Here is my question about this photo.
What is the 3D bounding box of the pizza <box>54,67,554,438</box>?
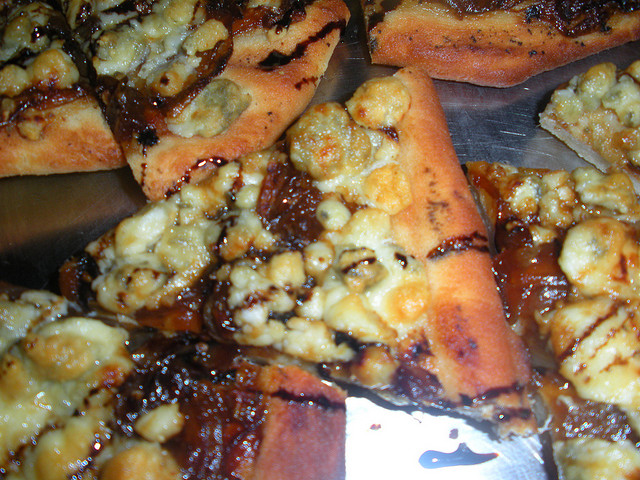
[{"bbox_3d":[-0.027,0.181,1.921,1.077,0.669,0.844,-18,49,5],"label":"pizza"}]

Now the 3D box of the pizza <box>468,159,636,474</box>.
[{"bbox_3d":[0.703,0.197,1.856,0.467,0.185,0.798,-8,83,22],"label":"pizza"}]
